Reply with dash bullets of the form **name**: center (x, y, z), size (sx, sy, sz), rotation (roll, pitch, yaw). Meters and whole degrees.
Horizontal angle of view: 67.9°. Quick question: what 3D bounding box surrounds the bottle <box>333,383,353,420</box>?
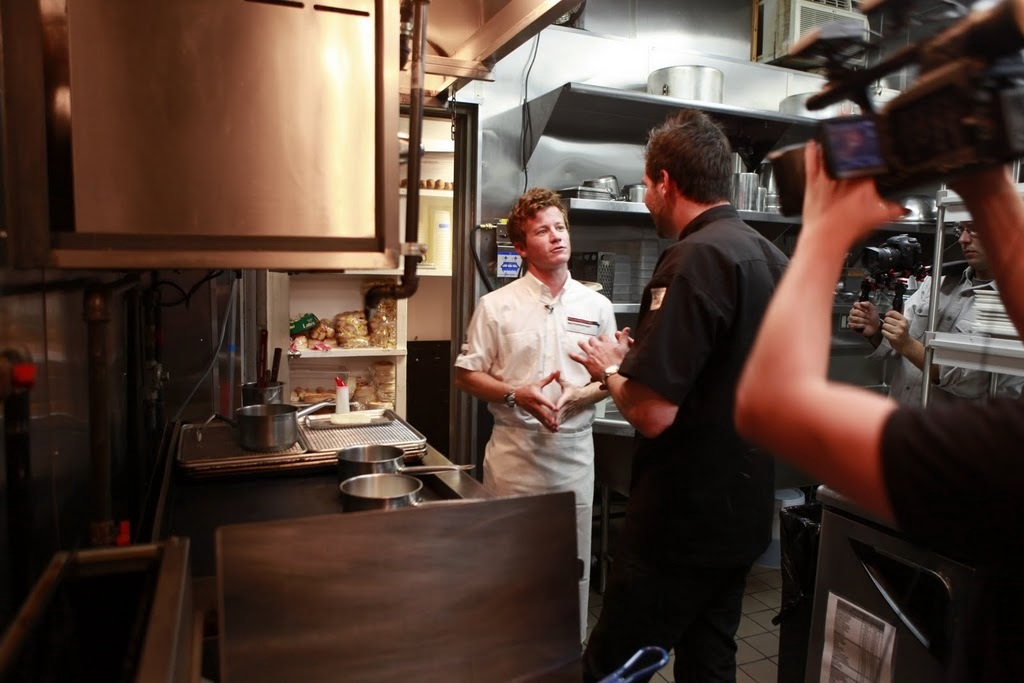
- **bottle**: center (-0.603, 0.200, 2.703), size (0.048, 0.110, 0.193), rotation (-1, 8, -13)

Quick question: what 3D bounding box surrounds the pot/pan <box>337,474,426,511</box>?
- **pot/pan**: center (-0.312, 0.366, 1.810), size (0.175, 0.066, 0.193), rotation (-3, 9, -22)

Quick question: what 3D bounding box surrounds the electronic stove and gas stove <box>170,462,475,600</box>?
- **electronic stove and gas stove**: center (-0.677, 0.446, 2.027), size (0.453, 0.072, 0.649), rotation (-2, 9, -20)

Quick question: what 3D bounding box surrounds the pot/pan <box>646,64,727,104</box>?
- **pot/pan**: center (0.997, -1.425, 4.229), size (0.450, 0.213, 0.233), rotation (0, 8, -8)

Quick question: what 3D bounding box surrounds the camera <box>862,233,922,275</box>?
- **camera**: center (1.659, -0.377, 3.324), size (0.204, 0.145, 0.183), rotation (-3, 4, -24)

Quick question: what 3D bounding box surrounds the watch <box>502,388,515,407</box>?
- **watch**: center (-0.011, 0.233, 2.936), size (0.036, 0.055, 0.052), rotation (2, -2, 5)

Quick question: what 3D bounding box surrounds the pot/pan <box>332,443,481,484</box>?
- **pot/pan**: center (-0.294, 0.295, 2.005), size (0.330, 0.090, 0.139), rotation (4, 3, 38)

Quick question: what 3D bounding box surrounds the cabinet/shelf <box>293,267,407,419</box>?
- **cabinet/shelf**: center (-0.986, 0.045, 4.607), size (0.701, 0.882, 0.444), rotation (-2, 8, -17)

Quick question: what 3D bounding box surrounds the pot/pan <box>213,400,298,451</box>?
- **pot/pan**: center (-0.751, 0.265, 2.328), size (0.157, 0.097, 0.149), rotation (-5, 9, -39)
